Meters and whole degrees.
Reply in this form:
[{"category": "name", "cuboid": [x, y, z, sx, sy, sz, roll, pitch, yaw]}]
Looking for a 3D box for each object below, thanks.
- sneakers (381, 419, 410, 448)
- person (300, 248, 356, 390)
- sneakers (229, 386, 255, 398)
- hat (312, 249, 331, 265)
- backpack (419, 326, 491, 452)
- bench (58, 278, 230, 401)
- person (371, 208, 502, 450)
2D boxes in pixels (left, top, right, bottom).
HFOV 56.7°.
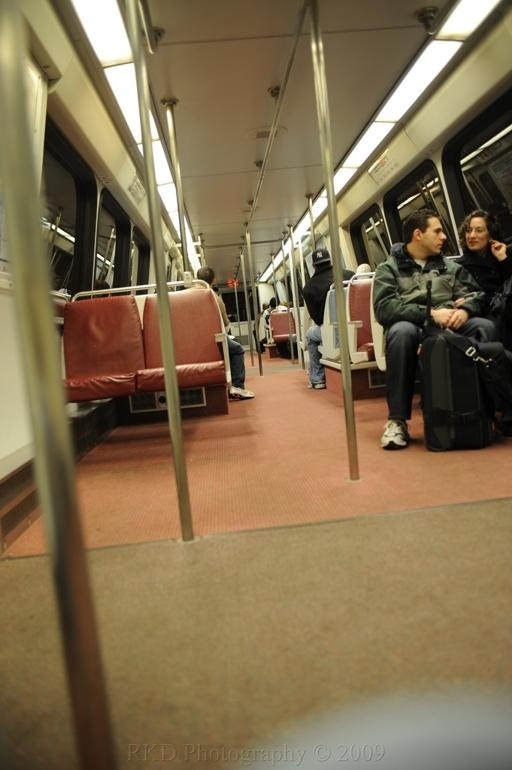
[{"category": "sneakers", "cuboid": [0.842, 0.296, 2.859, 0.188, 0.174, 0.184, -6, 0, 6]}, {"category": "person", "cuboid": [0.817, -0.833, 5.980, 0.575, 1.645, 0.804, -4, 7, -40]}, {"category": "sneakers", "cuboid": [-0.195, 0.091, 5.764, 0.344, 0.175, 0.129, 1, 11, -13]}, {"category": "hat", "cuboid": [0.803, -1.609, 5.899, 0.170, 0.150, 0.254, -9, 15, 11]}, {"category": "backpack", "cuboid": [1.132, 0.007, 2.774, 0.375, 0.713, 0.491, -5, 4, 2]}, {"category": "bench", "cuboid": [-0.926, -0.332, 3.757, 1.308, 0.938, 0.744, -7, 2, -5]}, {"category": "person", "cuboid": [1.142, -0.441, 3.125, 0.837, 1.780, 0.979, 3, -11, -1]}]
